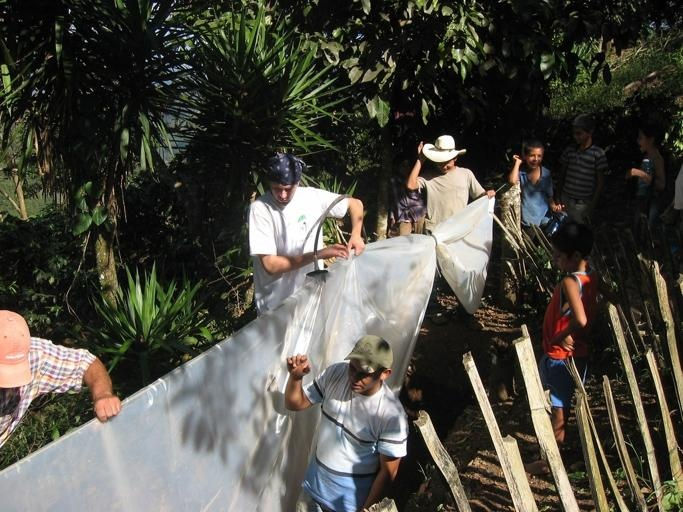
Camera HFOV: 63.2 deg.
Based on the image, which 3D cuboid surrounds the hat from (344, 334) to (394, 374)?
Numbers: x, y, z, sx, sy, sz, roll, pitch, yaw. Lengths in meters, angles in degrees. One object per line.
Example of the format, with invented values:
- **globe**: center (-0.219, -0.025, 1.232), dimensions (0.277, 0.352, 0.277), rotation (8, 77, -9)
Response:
- **hat**: center (0.177, 0.590, 3.337), dimensions (0.180, 0.151, 0.253), rotation (25, 5, 32)

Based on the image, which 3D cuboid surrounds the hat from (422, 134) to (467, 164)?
- **hat**: center (1.242, -1.328, 6.753), dimensions (0.477, 0.301, 0.597), rotation (7, 20, 8)

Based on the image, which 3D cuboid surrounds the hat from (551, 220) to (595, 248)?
- **hat**: center (1.694, -0.150, 4.078), dimensions (0.213, 0.238, 0.190), rotation (14, 46, 16)

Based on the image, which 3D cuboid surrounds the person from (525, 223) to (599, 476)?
- **person**: center (1.669, 0.618, 4.110), dimensions (0.386, 1.726, 0.393), rotation (0, 5, 22)

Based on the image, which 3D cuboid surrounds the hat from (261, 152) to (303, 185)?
- **hat**: center (-0.429, -0.683, 4.315), dimensions (0.206, 0.210, 0.273), rotation (-37, -6, 24)

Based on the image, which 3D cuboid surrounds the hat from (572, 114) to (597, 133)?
- **hat**: center (2.766, -1.536, 6.340), dimensions (0.164, 0.232, 0.226), rotation (17, 24, 24)

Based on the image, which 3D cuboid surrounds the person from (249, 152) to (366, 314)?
- **person**: center (-0.285, -0.153, 4.391), dimensions (0.869, 1.302, 0.708), rotation (-2, 5, -7)
